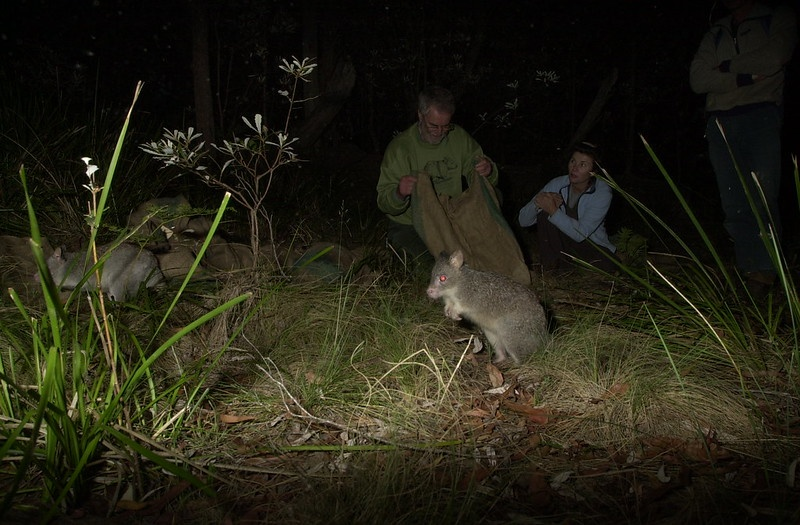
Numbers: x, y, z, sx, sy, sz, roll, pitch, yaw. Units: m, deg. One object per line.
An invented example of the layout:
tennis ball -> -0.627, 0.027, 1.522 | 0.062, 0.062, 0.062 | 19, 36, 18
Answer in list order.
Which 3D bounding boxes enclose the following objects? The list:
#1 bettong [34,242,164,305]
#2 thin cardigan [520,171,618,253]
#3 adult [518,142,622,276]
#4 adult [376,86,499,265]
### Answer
bettong -> -2.647, 0.172, 5.277 | 1.267, 0.681, 0.431 | 5, 15, 5
thin cardigan -> 2.160, -0.636, 7.176 | 1.196, 0.869, 1.150 | 13, 13, 2
adult -> 2.092, -0.611, 7.083 | 1.151, 1.607, 1.032 | 3, 23, 8
adult -> 0.378, -1.109, 6.855 | 1.286, 1.892, 0.793 | -2, 20, -5
